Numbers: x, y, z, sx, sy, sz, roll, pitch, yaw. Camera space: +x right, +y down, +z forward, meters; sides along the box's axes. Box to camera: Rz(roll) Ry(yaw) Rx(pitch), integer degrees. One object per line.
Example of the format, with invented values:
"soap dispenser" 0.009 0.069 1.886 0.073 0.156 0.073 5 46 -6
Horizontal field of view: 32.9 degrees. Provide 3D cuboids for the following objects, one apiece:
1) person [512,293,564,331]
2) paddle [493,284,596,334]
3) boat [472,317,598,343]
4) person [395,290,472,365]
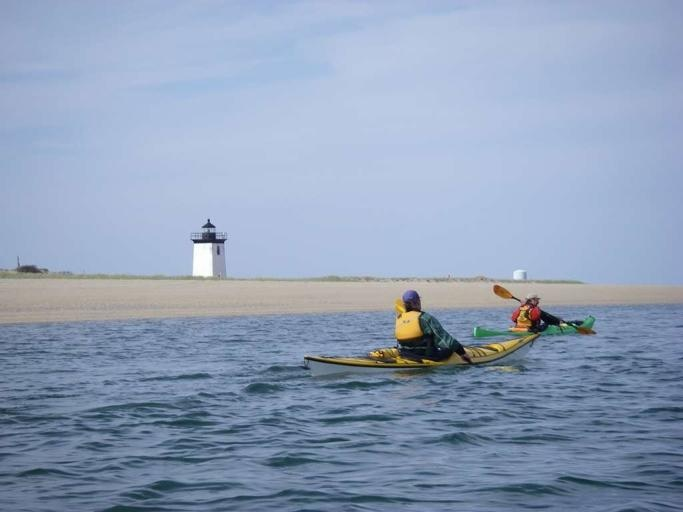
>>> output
"person" 5.826 1.786 34.663 1.162 1.351 1.938 6 14 23
"paddle" 8.382 2.145 46.889 4.501 0.549 0.664 20 6 -26
"boat" 6.963 2.336 36.633 6.102 0.750 1.201 -1 -2 -31
"person" 2.015 1.696 27.944 1.368 1.794 0.556 0 16 1
